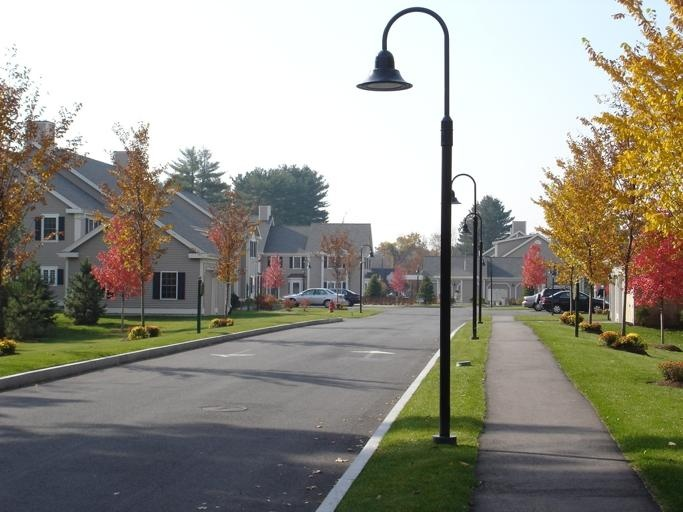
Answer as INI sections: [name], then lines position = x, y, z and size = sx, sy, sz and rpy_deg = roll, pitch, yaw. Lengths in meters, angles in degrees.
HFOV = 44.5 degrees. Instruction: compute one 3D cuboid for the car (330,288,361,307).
[car]
position = 0.330, 3.325, 67.833
size = 2.482, 0.857, 1.182
rpy_deg = 3, -4, 1
